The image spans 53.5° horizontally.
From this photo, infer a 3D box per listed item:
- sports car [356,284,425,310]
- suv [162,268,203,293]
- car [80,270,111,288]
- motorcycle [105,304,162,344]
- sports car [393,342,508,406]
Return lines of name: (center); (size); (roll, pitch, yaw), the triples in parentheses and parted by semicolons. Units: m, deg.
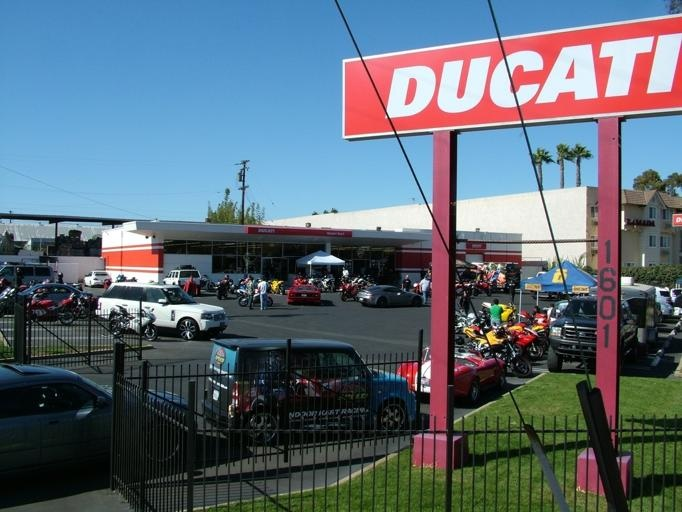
sports car: (2.922, 2.412, 39.994); (3.642, 1.286, 1.034); (0, -1, -20)
suv: (-9.572, 1.489, 41.015); (2.347, 1.350, 1.464); (12, 8, 44)
car: (-19.449, 1.875, 53.457); (1.420, 1.105, 3.103); (-1, 5, -31)
motorcycle: (-6.978, 2.330, 22.750); (1.525, 1.188, 3.672); (0, -1, -18)
sports car: (2.809, 2.850, 16.896); (2.202, 1.125, 3.553); (-3, -3, 42)
